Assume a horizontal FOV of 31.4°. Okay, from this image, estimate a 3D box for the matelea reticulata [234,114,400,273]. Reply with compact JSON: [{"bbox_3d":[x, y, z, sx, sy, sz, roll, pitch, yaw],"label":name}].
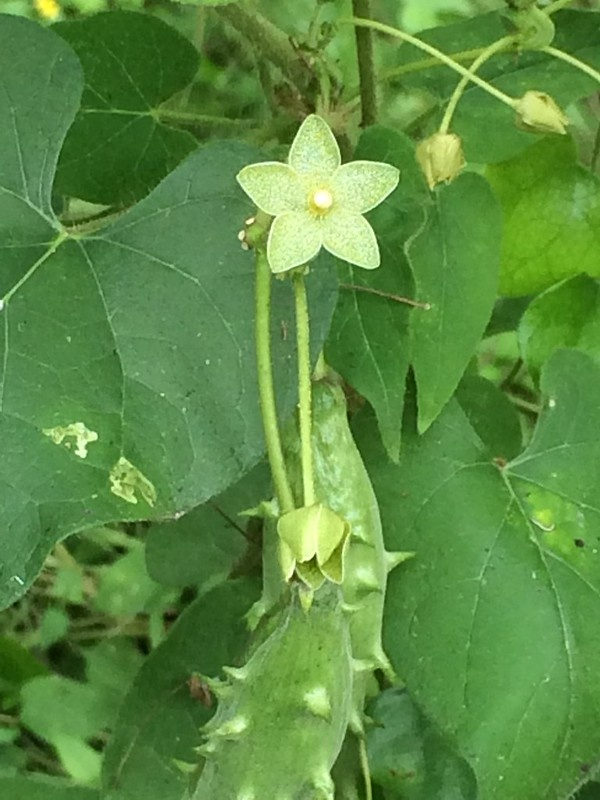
[{"bbox_3d":[0.012,-0.126,0.649,0.097,0.055,0.077,-1,67,-5],"label":"matelea reticulata"}]
